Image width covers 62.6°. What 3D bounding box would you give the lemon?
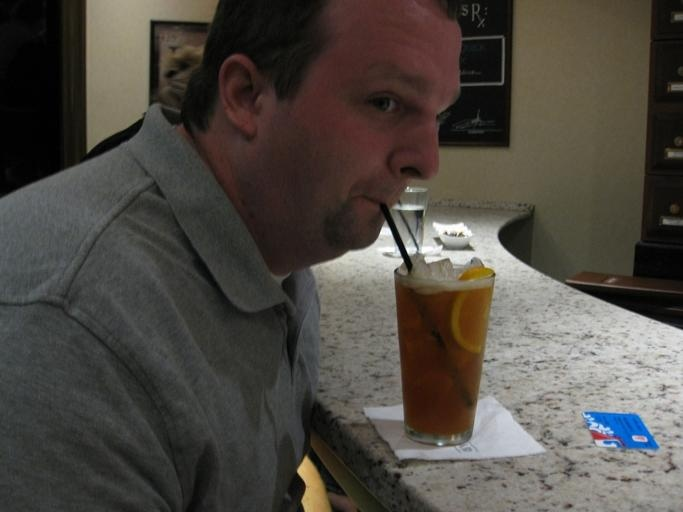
[{"bbox_3d":[0.188,0.089,0.859,0.084,0.130,0.082,-4,13,-3],"label":"lemon"}]

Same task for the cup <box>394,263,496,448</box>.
[{"bbox_3d":[0.155,0.158,0.895,0.159,0.256,0.154,2,6,0],"label":"cup"}]

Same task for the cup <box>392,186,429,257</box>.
[{"bbox_3d":[0.235,-0.120,2.071,0.144,0.233,0.143,-2,3,0],"label":"cup"}]
